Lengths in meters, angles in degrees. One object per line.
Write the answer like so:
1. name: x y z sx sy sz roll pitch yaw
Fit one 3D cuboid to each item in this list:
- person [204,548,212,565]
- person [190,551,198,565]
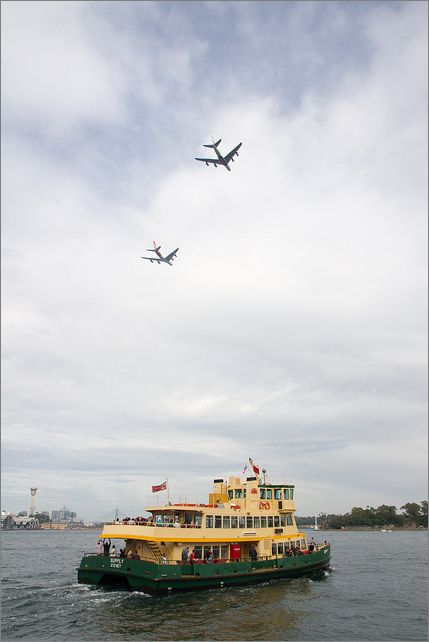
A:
1. person: -0.483 18.408 38.699 0.692 1.064 1.401 -3 -17 8
2. person: -1.603 18.048 37.428 0.458 0.795 1.193 -3 -17 10
